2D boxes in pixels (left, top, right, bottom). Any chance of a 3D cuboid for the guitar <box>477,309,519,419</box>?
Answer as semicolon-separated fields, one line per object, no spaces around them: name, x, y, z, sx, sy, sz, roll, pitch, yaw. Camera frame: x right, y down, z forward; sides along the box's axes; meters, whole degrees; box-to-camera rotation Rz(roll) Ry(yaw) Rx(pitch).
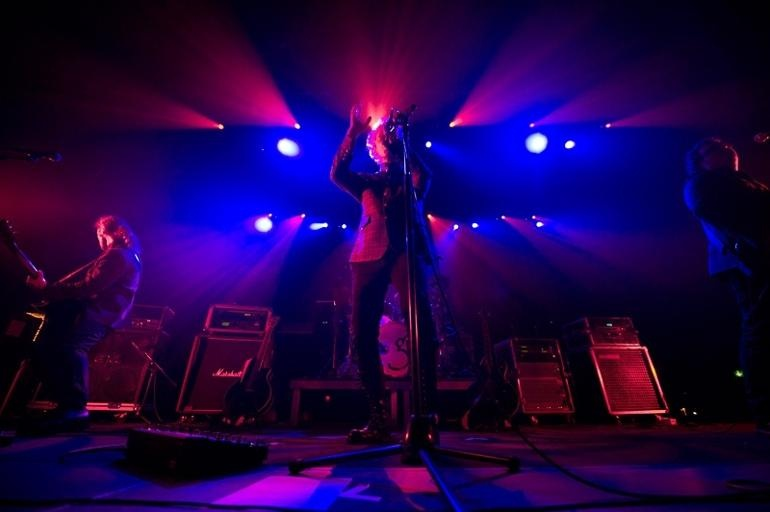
guitar;1.396;1.556;7.666;0.748;1.667;0.258;13;-28;-38

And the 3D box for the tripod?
tripod;-0.055;0.467;6.081;1.610;4.339;1.861;-11;-32;20

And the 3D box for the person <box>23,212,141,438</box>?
person;-4.171;0.831;7.443;1.091;3.136;0.725;13;-32;-20

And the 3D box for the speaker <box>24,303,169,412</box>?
speaker;-4.412;1.901;9.353;2.404;2.055;1.301;3;-29;-10

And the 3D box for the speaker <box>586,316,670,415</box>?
speaker;3.751;1.724;8.517;1.069;1.552;0.300;10;-31;-15

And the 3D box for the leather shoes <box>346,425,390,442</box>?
leather shoes;-0.206;2.030;6.172;0.504;0.194;0.139;-3;-29;8
